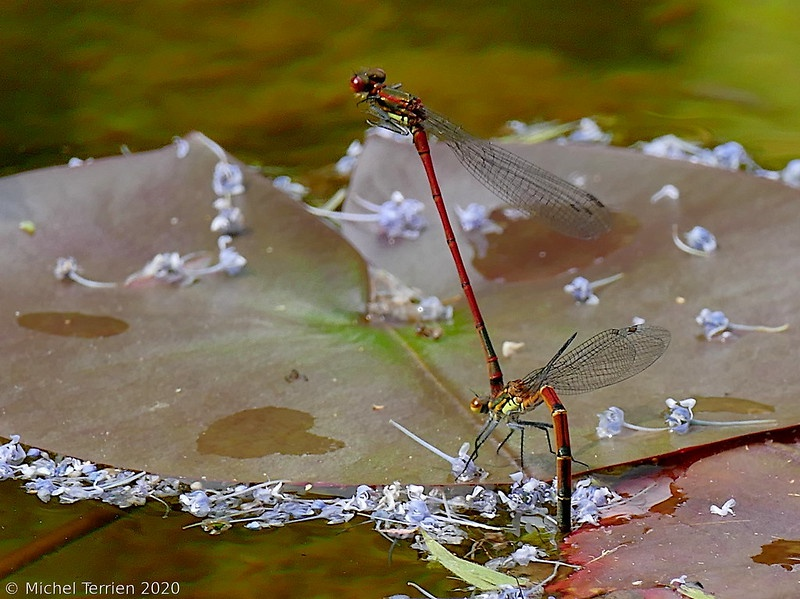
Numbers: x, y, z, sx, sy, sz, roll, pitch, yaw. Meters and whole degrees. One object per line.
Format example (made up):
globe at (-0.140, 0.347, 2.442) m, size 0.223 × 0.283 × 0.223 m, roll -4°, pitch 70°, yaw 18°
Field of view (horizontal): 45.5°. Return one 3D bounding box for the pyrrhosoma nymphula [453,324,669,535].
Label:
pyrrhosoma nymphula at (0.196, 0.162, 1.375) m, size 0.246 × 0.298 × 0.137 m, roll 3°, pitch 62°, yaw -21°
